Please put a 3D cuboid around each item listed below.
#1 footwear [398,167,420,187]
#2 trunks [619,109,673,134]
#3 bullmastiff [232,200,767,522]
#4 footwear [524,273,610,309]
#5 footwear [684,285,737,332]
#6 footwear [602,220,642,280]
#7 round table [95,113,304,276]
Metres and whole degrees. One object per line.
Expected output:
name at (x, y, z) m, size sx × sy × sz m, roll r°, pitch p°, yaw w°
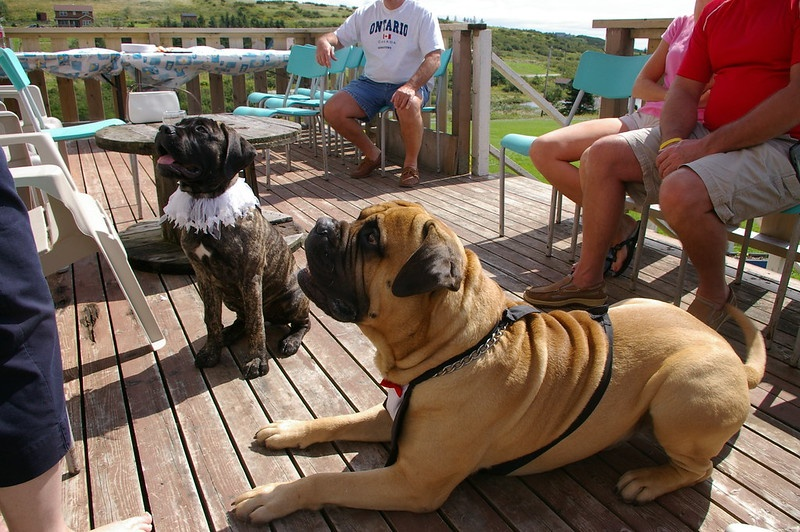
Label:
footwear at (0.104, -0.987, 5.519) m, size 0.215 × 0.175 × 0.249 m, roll 2°, pitch 28°, yaw 3°
trunks at (1.758, -1.040, 3.561) m, size 0.305 × 0.117 × 0.174 m, roll 15°, pitch 20°, yaw 32°
bullmastiff at (0.454, 0.331, 2.163) m, size 1.999 × 0.893 × 1.148 m, roll -5°, pitch 14°, yaw -10°
footwear at (1.105, 0.179, 3.362) m, size 0.520 × 0.216 × 0.210 m, roll 2°, pitch 11°, yaw 2°
footwear at (1.688, 0.237, 2.688) m, size 0.273 × 0.118 × 0.127 m, roll -31°, pitch 40°, yaw -7°
footwear at (1.616, -0.057, 3.677) m, size 0.144 × 0.528 × 0.203 m, roll 2°, pitch 26°, yaw -23°
round table at (-1.848, -0.567, 4.433) m, size 1.623 × 1.017 × 1.599 m, roll -2°, pitch 8°, yaw 0°
